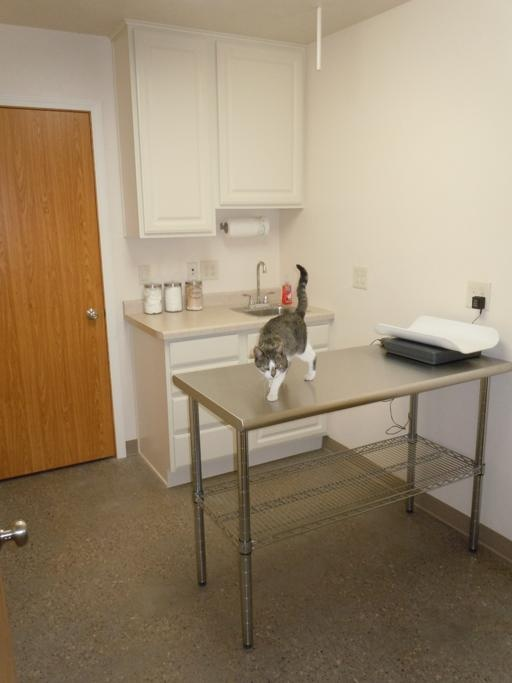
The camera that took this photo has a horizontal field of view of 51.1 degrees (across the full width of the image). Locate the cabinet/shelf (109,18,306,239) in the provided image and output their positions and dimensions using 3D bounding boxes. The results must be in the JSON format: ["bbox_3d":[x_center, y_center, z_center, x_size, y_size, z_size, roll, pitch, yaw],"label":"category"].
[{"bbox_3d":[-0.263,-1.078,2.621,0.817,0.813,0.269,-9,21,-27],"label":"cabinet/shelf"}]

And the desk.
[{"bbox_3d":[0.291,0.477,1.912,1.063,0.797,0.555,-7,13,-29],"label":"desk"}]

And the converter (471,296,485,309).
[{"bbox_3d":[0.827,-0.142,1.993,0.037,0.054,0.052,-2,13,-9],"label":"converter"}]

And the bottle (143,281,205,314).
[{"bbox_3d":[-0.459,-0.237,2.879,0.298,0.164,0.183,-10,15,-38],"label":"bottle"}]
